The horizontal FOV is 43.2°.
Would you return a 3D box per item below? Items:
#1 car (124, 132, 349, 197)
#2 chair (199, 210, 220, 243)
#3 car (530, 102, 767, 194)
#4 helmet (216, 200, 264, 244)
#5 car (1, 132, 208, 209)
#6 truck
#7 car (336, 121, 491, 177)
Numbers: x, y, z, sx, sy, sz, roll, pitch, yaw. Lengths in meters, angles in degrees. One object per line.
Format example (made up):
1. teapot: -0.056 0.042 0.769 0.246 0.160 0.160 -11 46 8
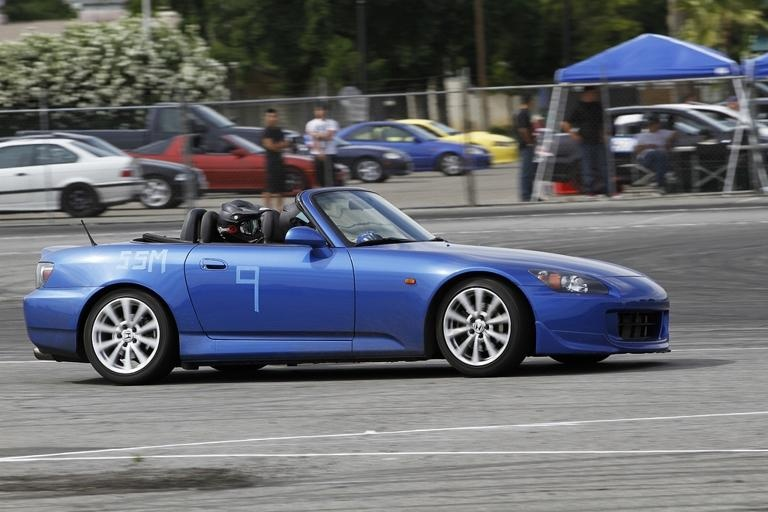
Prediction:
1. car: -2.762 -1.727 18.434 4.163 0.709 1.272 0 7 3
2. chair: -1.596 -0.259 8.851 0.155 0.247 0.246 11 4 -16
3. car: 5.285 -2.077 18.637 4.057 1.687 0.664 -1 11 3
4. helmet: -1.360 -0.336 9.170 0.605 0.289 0.333 3 15 -10
5. car: -5.352 -1.662 18.911 4.853 0.847 1.532 0 4 5
6. truck: -4.314 -2.543 18.912 4.806 0.863 1.478 -1 9 3
7. car: 0.781 -2.132 19.126 3.674 0.612 1.130 2 8 8
